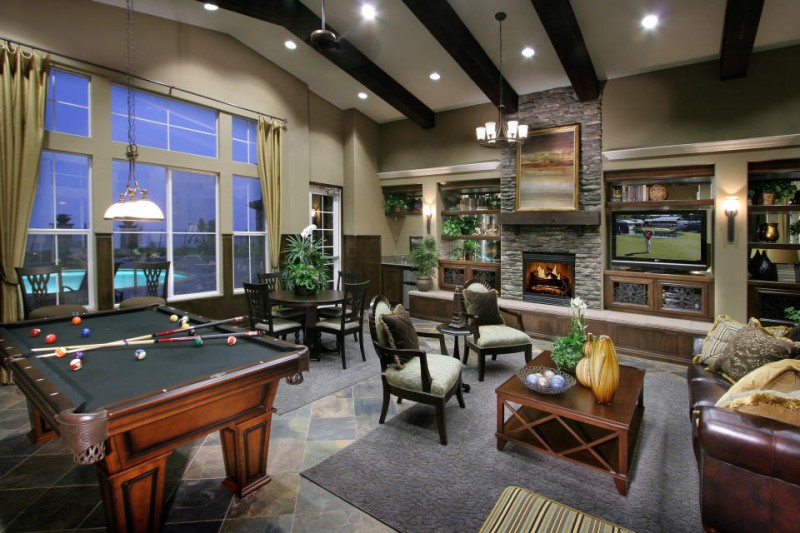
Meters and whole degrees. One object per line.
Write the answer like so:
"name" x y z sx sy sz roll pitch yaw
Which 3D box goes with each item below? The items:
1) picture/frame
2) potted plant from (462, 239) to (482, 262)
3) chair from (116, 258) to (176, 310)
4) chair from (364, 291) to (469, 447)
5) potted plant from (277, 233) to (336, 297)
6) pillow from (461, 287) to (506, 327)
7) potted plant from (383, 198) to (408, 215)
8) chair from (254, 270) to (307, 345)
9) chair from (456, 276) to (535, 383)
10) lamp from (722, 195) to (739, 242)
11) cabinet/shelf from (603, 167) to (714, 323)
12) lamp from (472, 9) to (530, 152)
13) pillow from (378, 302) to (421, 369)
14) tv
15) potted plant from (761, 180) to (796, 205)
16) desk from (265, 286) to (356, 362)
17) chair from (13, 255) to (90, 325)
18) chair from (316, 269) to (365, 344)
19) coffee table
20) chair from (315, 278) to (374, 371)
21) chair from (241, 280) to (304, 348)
"picture/frame" 2.581 -1.717 8.816 1.100 1.443 0.087 6 17 33
"potted plant" 1.445 -0.336 10.191 0.421 0.398 0.408 -1 3 -37
"chair" -3.817 0.217 7.513 0.838 0.827 0.714 3 4 -40
"chair" 0.262 1.098 6.305 1.252 1.520 1.219 1 3 19
"potted plant" -1.546 -0.021 8.169 1.148 1.184 1.059 1 2 -18
"pillow" 1.228 0.586 7.374 0.564 0.493 0.165 3 -11 -9
"potted plant" -0.075 -1.299 11.205 0.640 0.433 0.359 3 5 32
"chair" -1.806 0.714 7.726 0.959 1.363 0.710 3 11 -16
"chair" 1.357 0.848 7.350 0.998 1.277 0.862 3 5 -20
"lamp" 4.981 -0.709 7.570 0.188 0.711 0.096 -1 4 31
"cabinet/shelf" 4.288 -0.400 8.375 1.607 2.457 0.731 -1 4 30
"lamp" 1.479 -2.669 7.404 0.859 2.027 0.862 2 4 31
"pillow" -0.004 0.818 6.064 0.601 0.659 0.842 1 2 19
"tv" 4.318 -0.439 8.326 1.676 0.894 0.288 6 4 37
"potted plant" 5.646 -1.102 7.493 0.423 0.379 0.235 -1 4 34
"desk" -1.324 0.850 7.717 1.021 0.823 1.095 4 6 42
"chair" -4.583 0.333 6.535 0.809 1.036 0.868 2 7 -26
"chair" -0.876 0.708 7.693 0.746 1.179 0.598 2 15 -16
"coffee table" 1.985 1.550 5.508 1.253 0.687 1.394 3 5 35
"chair" -0.855 0.790 7.656 0.874 1.363 0.680 3 12 -12
"chair" -1.815 0.652 7.563 0.942 1.370 0.851 -5 7 -40
